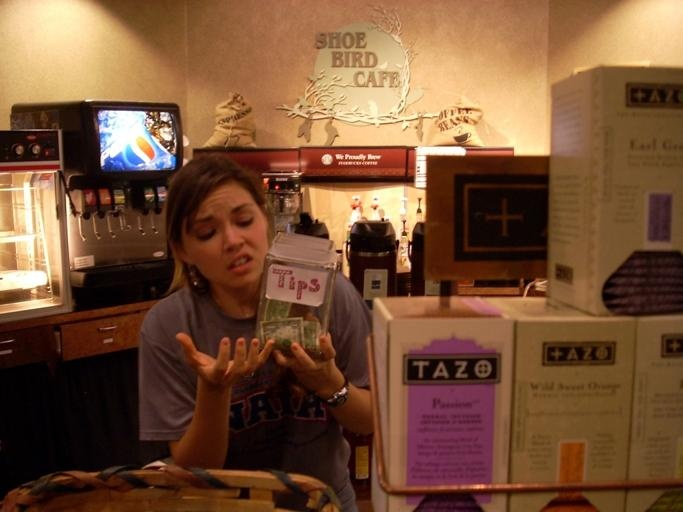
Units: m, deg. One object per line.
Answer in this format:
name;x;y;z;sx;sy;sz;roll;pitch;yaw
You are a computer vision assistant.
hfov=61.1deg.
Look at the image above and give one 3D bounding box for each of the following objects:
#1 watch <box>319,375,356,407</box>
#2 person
watch;-0.025;0.387;1.622;0.065;0.044;0.076;-35;32;28
person;-0.284;0.275;1.731;0.753;1.170;0.729;1;5;3
